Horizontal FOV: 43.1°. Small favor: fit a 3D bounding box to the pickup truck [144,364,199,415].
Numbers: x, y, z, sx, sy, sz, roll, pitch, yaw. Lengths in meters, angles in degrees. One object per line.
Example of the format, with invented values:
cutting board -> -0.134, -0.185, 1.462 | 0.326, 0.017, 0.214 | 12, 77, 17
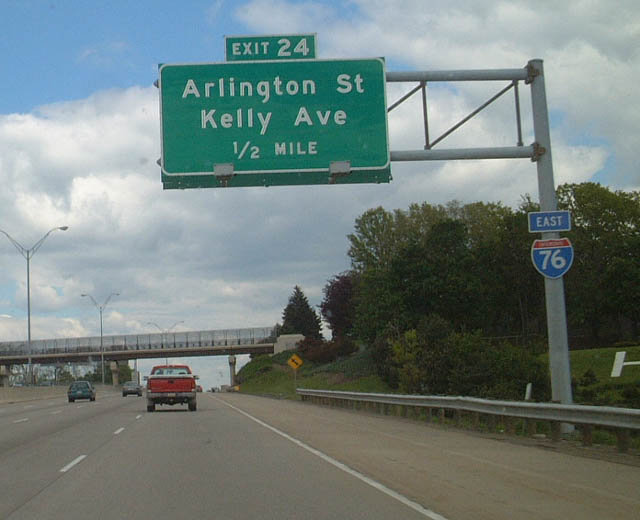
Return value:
pickup truck -> -6.863, 5.941, 37.271 | 2.147, 2.278, 4.692 | 1, -9, -13
